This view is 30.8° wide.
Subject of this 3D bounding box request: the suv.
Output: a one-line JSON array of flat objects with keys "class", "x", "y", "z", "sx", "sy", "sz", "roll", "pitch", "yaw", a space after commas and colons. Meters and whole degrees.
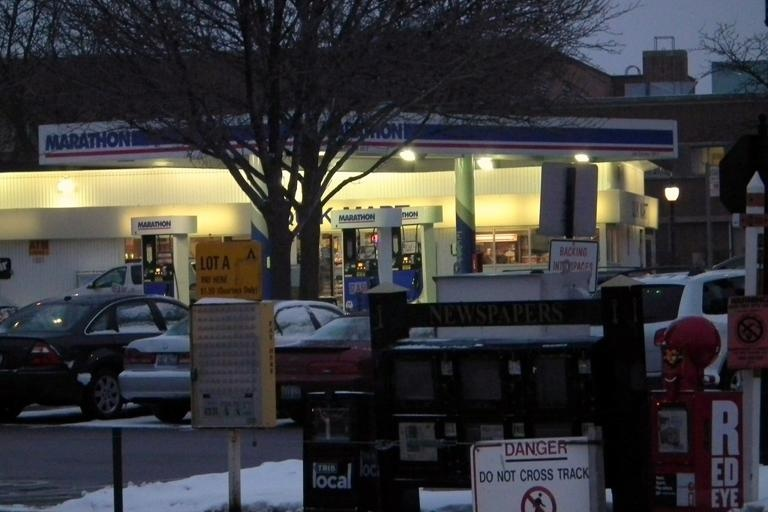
[{"class": "suv", "x": 4.976, "y": 1.139, "z": 22.592, "sx": 1.504, "sy": 1.408, "sz": 2.704, "roll": -3, "pitch": 0, "yaw": 21}]
